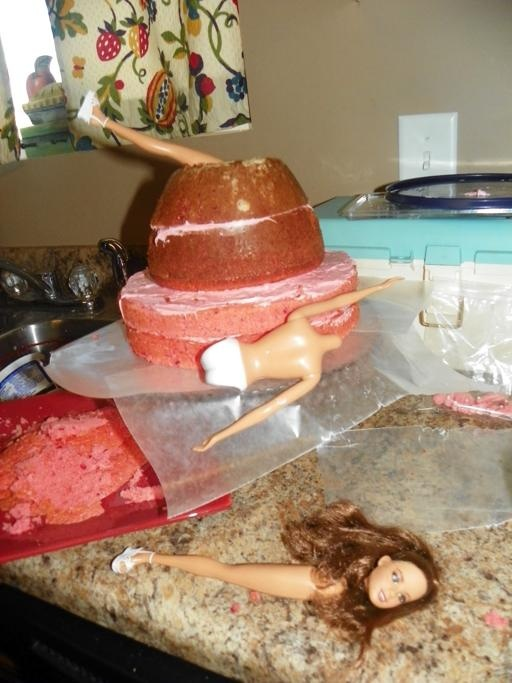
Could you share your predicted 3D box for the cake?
[{"bbox_3d":[-0.022,-0.097,0.661,0.280,0.202,0.215,-14,32,-19],"label":"cake"}]
